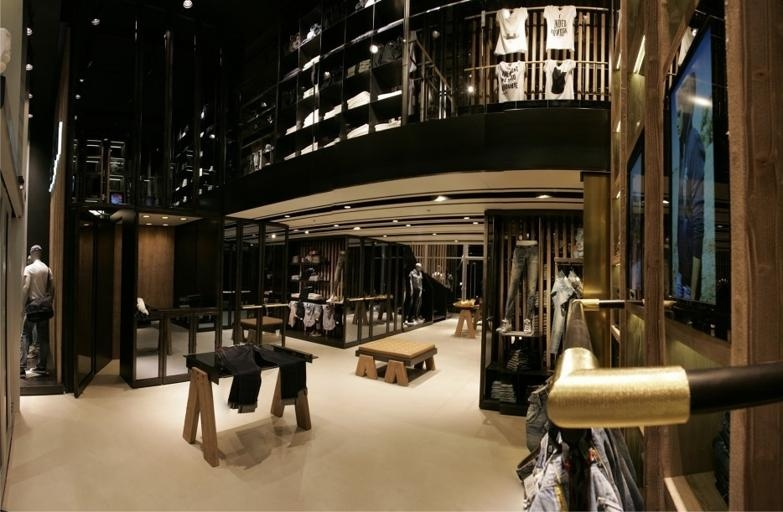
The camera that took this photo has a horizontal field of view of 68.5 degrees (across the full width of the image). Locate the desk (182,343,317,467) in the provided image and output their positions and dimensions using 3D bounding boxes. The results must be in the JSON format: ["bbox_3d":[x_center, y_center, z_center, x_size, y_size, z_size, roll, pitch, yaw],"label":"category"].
[{"bbox_3d":[-1.885,1.833,7.643,1.058,1.160,1.525,9,9,41],"label":"desk"}]

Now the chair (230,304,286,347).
[{"bbox_3d":[-2.482,1.214,10.948,0.671,0.497,0.953,0,1,-12],"label":"chair"}]

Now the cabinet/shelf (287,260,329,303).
[{"bbox_3d":[-1.875,0.577,12.987,0.843,0.894,0.297,-2,-4,30],"label":"cabinet/shelf"}]

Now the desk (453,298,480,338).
[{"bbox_3d":[1.881,1.569,14.308,0.562,0.922,1.154,3,12,11],"label":"desk"}]

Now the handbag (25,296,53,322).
[{"bbox_3d":[-5.305,0.764,8.578,0.183,0.354,0.335,3,6,11],"label":"handbag"}]

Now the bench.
[{"bbox_3d":[0.000,1.670,9.616,0.742,0.418,0.890,1,1,24],"label":"bench"}]

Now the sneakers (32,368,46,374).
[{"bbox_3d":[-5.622,1.803,9.099,0.225,0.097,0.071,-1,0,1],"label":"sneakers"}]
